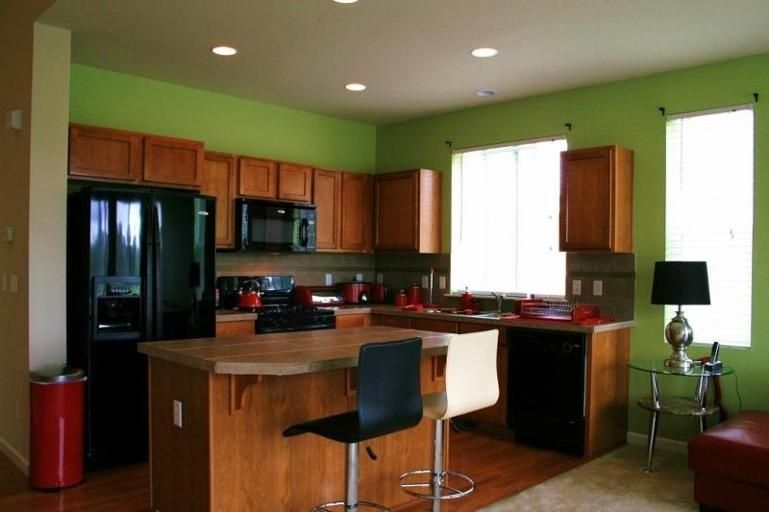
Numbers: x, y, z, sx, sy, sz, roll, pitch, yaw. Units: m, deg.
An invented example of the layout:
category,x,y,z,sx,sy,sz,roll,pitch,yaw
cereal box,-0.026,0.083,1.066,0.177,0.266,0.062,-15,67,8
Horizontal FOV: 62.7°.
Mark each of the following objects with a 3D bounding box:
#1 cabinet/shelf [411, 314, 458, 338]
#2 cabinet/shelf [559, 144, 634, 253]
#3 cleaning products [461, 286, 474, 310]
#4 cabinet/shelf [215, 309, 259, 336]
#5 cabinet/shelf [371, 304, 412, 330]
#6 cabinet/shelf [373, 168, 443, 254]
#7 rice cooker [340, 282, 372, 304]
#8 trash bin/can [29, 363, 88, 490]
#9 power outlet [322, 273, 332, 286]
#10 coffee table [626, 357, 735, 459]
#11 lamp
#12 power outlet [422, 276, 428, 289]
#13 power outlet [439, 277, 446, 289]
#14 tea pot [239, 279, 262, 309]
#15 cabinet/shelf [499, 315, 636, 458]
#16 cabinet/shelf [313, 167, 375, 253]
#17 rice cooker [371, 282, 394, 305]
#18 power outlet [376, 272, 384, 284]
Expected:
category,x,y,z,sx,sy,sz,roll,pitch,yaw
cabinet/shelf,0.521,0.687,6.518,0.173,0.189,0.312,1,-2,-42
cabinet/shelf,1.996,-0.513,5.918,0.695,0.906,0.308,-2,-1,17
cleaning products,0.916,0.488,6.817,0.127,0.186,0.133,-1,-1,-2
cabinet/shelf,-1.415,0.642,5.983,0.277,0.188,0.254,1,-1,-24
cabinet/shelf,0.072,0.685,6.900,0.219,0.244,0.389,2,-1,-33
cabinet/shelf,0.300,-0.504,7.195,0.521,1.172,1.035,0,1,-42
rice cooker,-0.323,0.434,7.367,0.273,0.155,0.273,-2,-3,37
trash bin/can,-2.537,1.323,4.890,0.349,0.921,0.239,-2,-1,23
power outlet,-0.676,0.281,7.439,0.163,0.208,0.022,0,4,-39
coffee table,2.504,1.213,5.439,0.925,0.905,0.908,1,-1,-2
lamp,2.529,0.488,5.322,0.425,0.892,0.328,-1,-1,-21
power outlet,0.480,0.305,7.353,0.112,0.111,0.008,-2,-1,42
power outlet,0.673,0.305,7.214,0.020,0.182,0.138,3,-4,-37
tea pot,-1.386,0.400,6.490,0.281,0.339,0.199,-1,-11,3
cabinet/shelf,1.689,1.226,6.365,1.210,1.537,1.126,3,-3,-33
cabinet/shelf,-0.483,-0.511,7.226,1.061,0.958,0.361,-1,4,-39
rice cooker,-0.009,0.449,7.570,0.275,0.187,0.211,2,-4,-19
power outlet,-0.044,0.275,7.794,0.138,0.227,0.028,3,6,43
